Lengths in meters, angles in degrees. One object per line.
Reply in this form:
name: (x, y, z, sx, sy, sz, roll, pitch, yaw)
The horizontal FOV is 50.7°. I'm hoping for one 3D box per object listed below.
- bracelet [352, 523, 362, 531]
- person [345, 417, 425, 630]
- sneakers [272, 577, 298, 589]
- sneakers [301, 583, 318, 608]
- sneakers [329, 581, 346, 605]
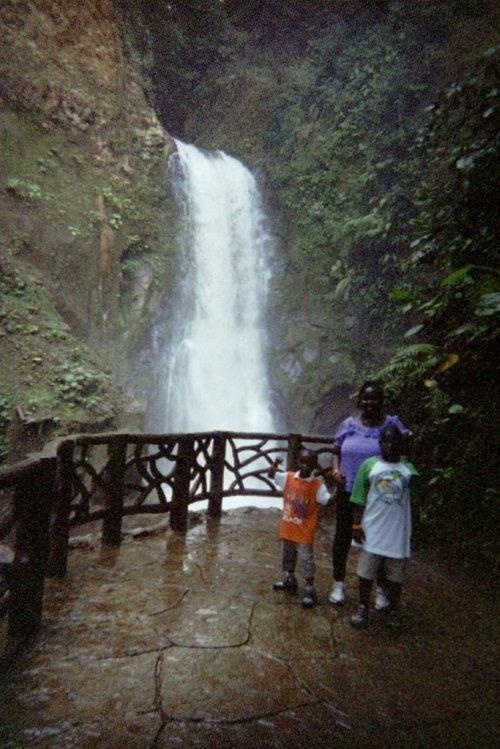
bracelet: (0.617, 0.888, 3.052, 0.031, 0.028, 0.038, 1, 9, -7)
person: (0.764, 0.874, 3.050, 0.363, 1.175, 0.332, 1, -4, 20)
sneakers: (0.238, 1.468, 3.701, 0.158, 0.096, 0.076, 4, -10, 7)
sneakers: (0.382, 1.449, 3.412, 0.092, 0.113, 0.274, -2, -19, 10)
sneakers: (0.566, 1.440, 3.423, 0.068, 0.110, 0.181, 8, -18, -1)
